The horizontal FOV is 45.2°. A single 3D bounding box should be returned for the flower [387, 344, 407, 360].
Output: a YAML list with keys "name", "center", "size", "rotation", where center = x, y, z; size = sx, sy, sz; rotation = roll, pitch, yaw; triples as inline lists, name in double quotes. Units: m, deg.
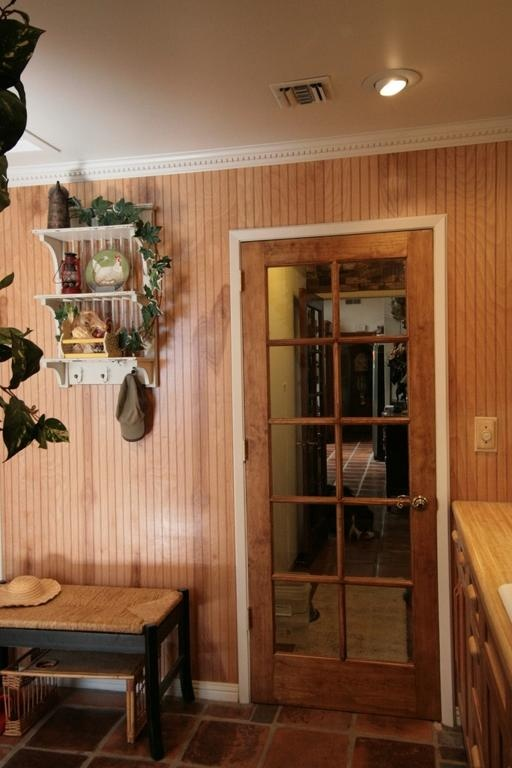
- name: "flower"
  center: [0.571, -0.129, 2.486]
  size: [0.056, 0.063, 0.023]
  rotation: [10, 9, 15]

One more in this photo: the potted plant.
- name: "potted plant"
  center: [-0.582, -0.483, 2.663]
  size: [0.432, 0.659, 0.266]
  rotation: [-3, 0, -1]

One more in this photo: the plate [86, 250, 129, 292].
- name: "plate"
  center: [-0.642, -0.488, 2.673]
  size: [0.177, 0.180, 0.025]
  rotation: [10, 2, 24]

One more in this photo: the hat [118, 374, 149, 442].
- name: "hat"
  center: [-0.541, 0.102, 2.661]
  size: [0.119, 0.285, 0.100]
  rotation: [-3, 0, -9]

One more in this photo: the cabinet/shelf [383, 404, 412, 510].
- name: "cabinet/shelf"
  center: [0.575, 0.287, 2.479]
  size: [0.137, 0.419, 0.402]
  rotation: [-1, 2, 7]
